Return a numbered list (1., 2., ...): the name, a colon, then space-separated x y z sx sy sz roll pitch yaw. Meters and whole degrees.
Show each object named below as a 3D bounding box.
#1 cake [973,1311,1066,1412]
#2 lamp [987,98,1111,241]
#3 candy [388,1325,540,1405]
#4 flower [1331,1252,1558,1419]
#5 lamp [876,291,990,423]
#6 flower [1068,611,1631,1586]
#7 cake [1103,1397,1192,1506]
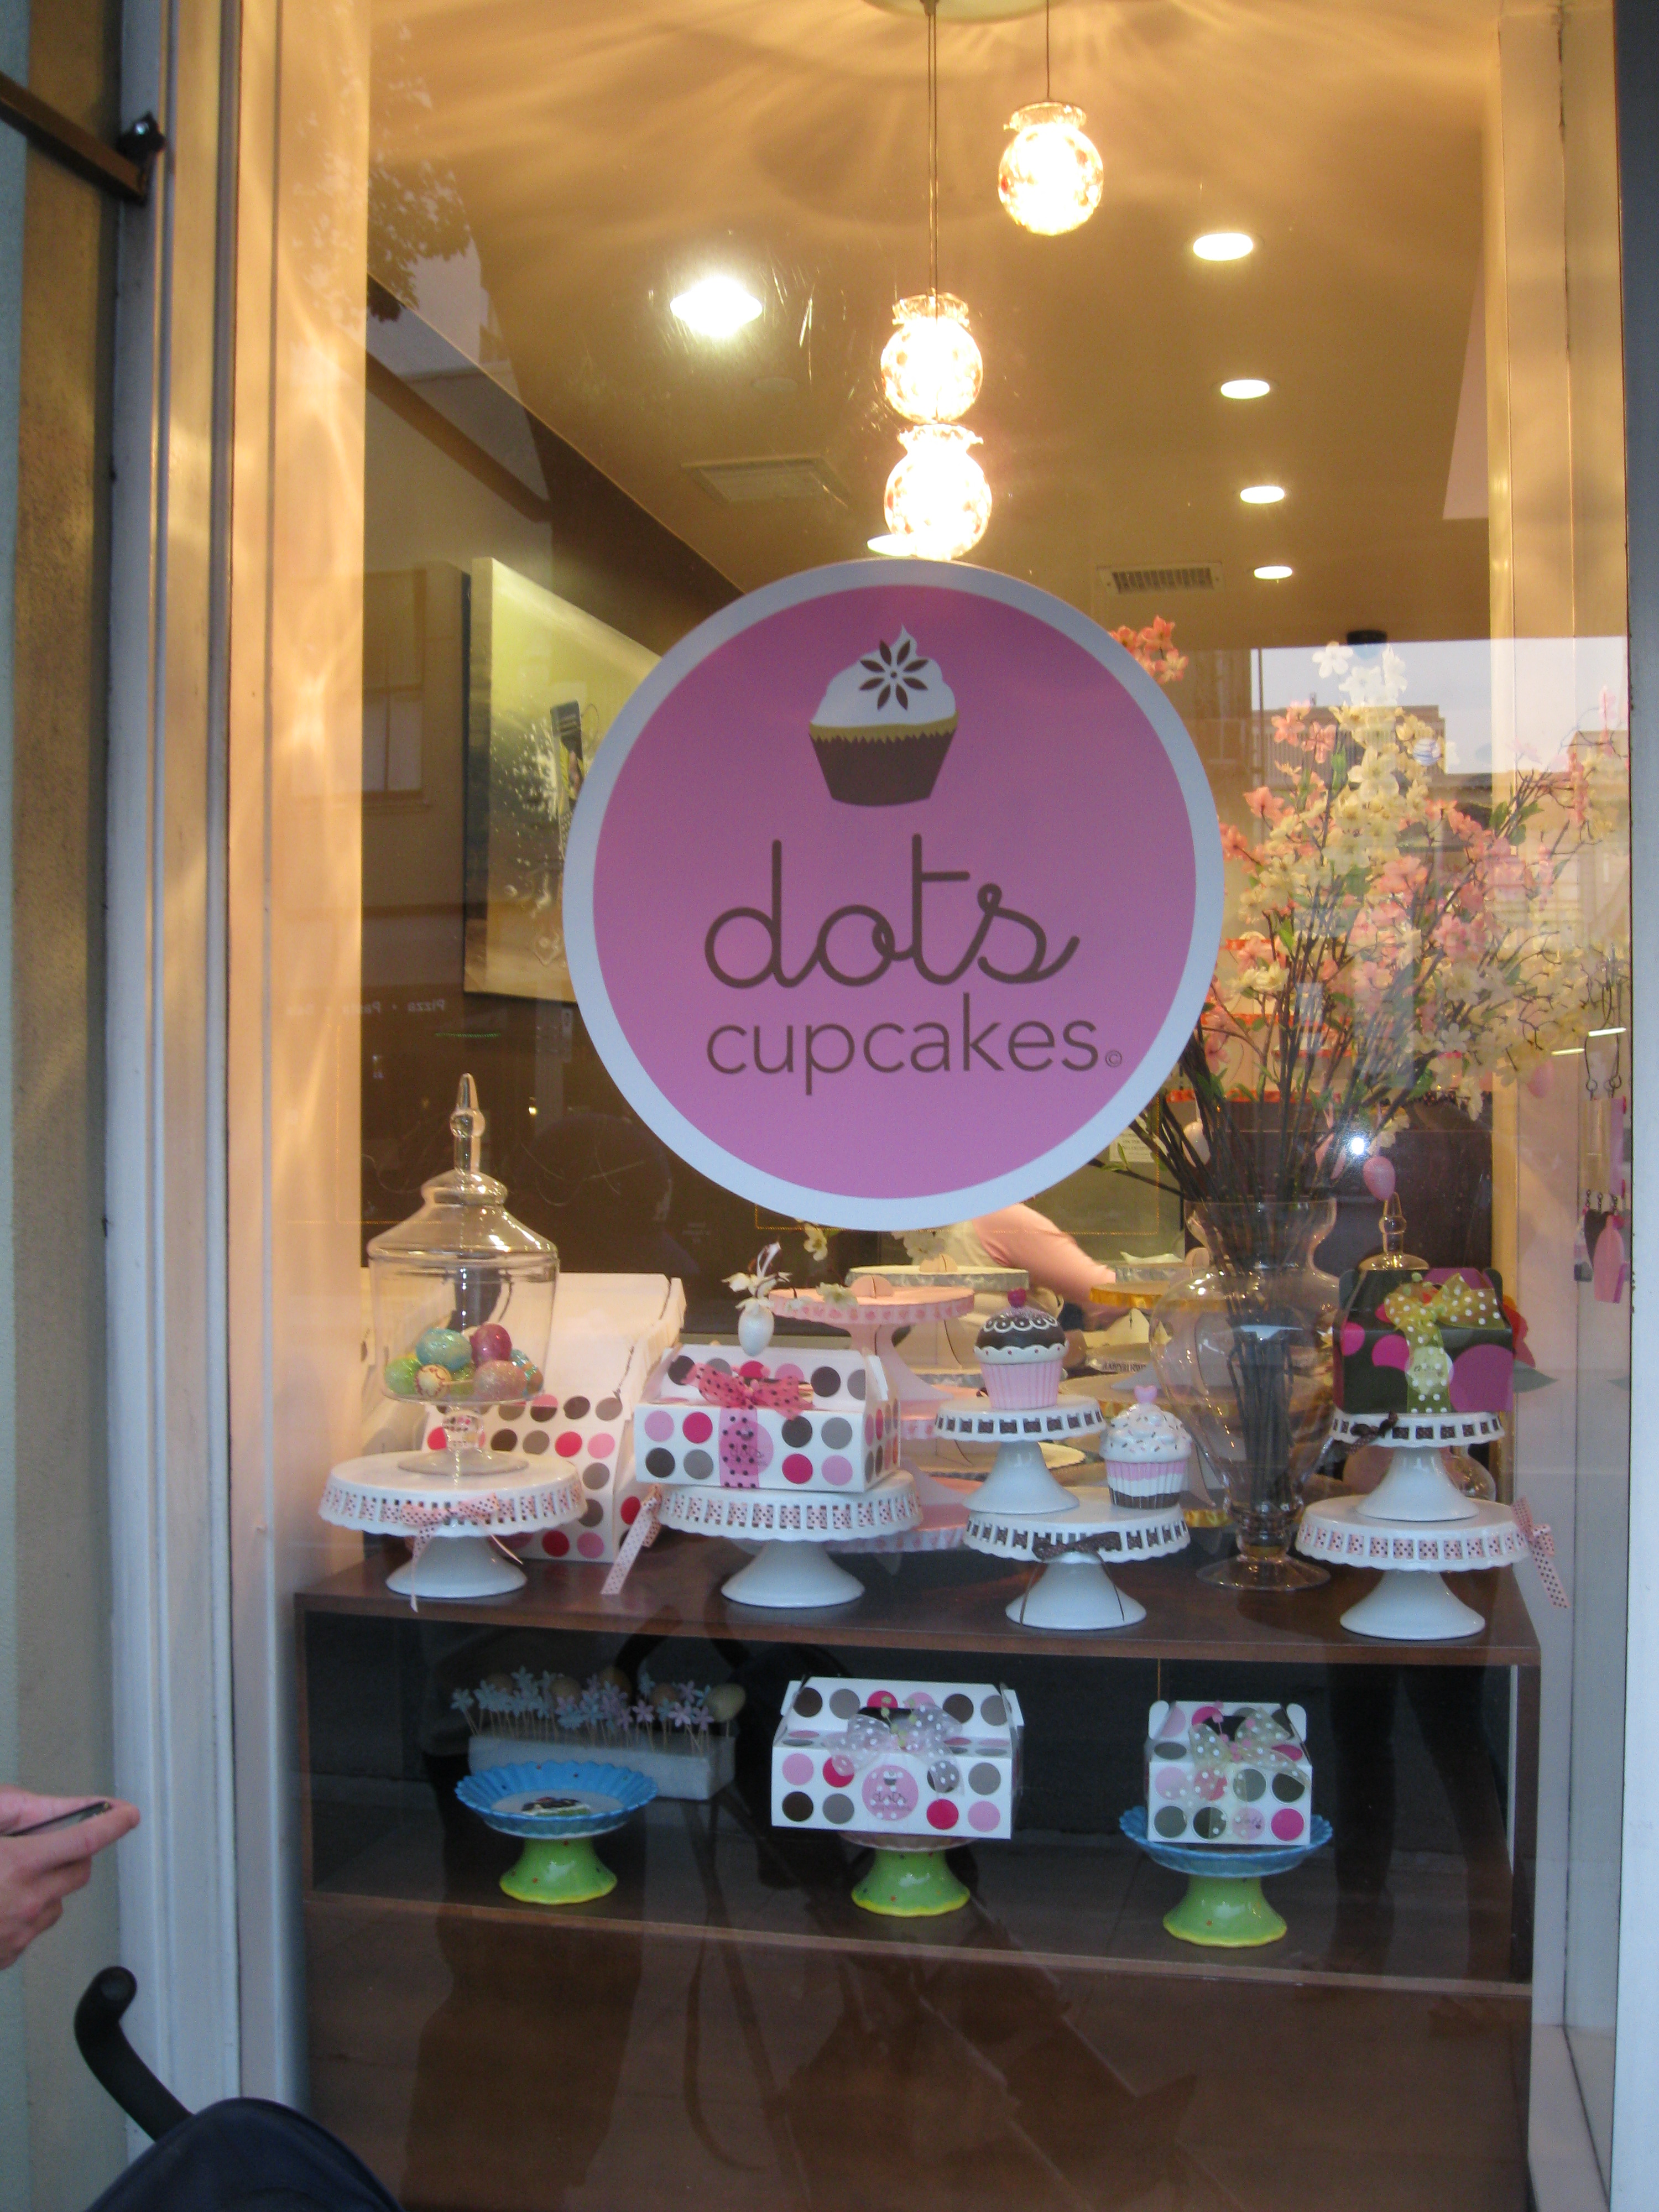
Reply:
1. cake: 0.159 0.215 1.526 0.071 0.070 0.072 -2 -1 -6
2. lamp: 0.206 -0.900 1.758 0.123 0.144 0.121 -2 7 -1
3. candy: -0.355 0.232 1.721 0.088 0.042 0.089 -1 3 -22
4. flower: 0.484 0.193 1.471 0.116 0.114 0.159 0 -8 7
5. lamp: 0.097 -0.746 1.810 0.120 0.141 0.119 -2 10 -6
6. flower: 0.458 0.065 1.925 0.599 1.058 0.638 3 -6 6
7. cake: 0.264 0.297 1.573 0.076 0.088 0.076 0 0 -31
